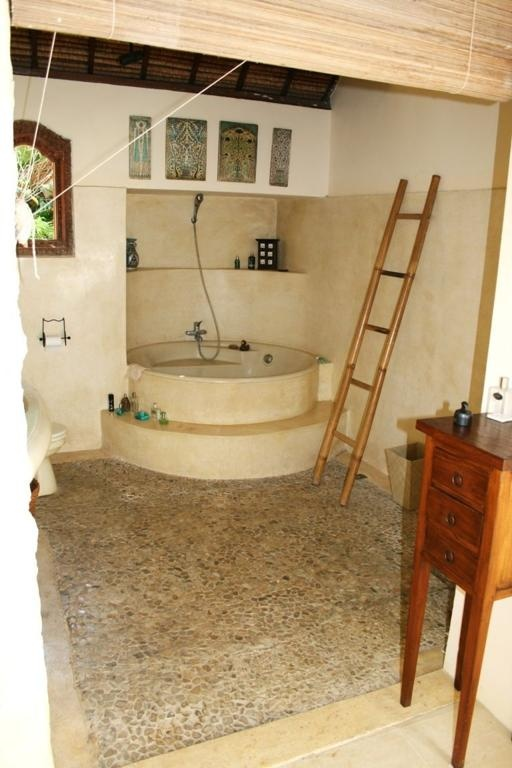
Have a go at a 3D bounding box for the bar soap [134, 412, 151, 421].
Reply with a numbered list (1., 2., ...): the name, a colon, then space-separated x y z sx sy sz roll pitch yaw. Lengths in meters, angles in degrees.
1. bar soap: -0.828 0.221 4.219 0.102 0.055 0.166 -1 12 -11

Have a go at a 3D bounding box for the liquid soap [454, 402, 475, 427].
1. liquid soap: 0.678 0.096 1.886 0.052 0.080 0.052 -9 19 -25

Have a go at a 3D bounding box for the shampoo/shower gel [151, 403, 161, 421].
1. shampoo/shower gel: -0.723 0.199 4.187 0.109 0.114 0.054 11 16 40

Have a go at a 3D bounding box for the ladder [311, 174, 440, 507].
1. ladder: 0.750 -0.307 3.696 0.585 2.168 0.188 10 15 34

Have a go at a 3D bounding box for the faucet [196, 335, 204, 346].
1. faucet: -0.529 -0.402 5.453 0.055 0.089 0.097 12 19 32

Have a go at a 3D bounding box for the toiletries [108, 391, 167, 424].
1. toiletries: -0.858 0.200 4.235 0.567 0.246 0.194 8 16 24

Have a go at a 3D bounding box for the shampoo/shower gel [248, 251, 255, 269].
1. shampoo/shower gel: -0.043 -1.187 5.640 0.066 0.142 0.130 1 12 -2

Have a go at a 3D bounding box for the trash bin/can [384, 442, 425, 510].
1. trash bin/can: 0.891 0.550 3.587 0.304 0.366 0.333 0 10 -12
